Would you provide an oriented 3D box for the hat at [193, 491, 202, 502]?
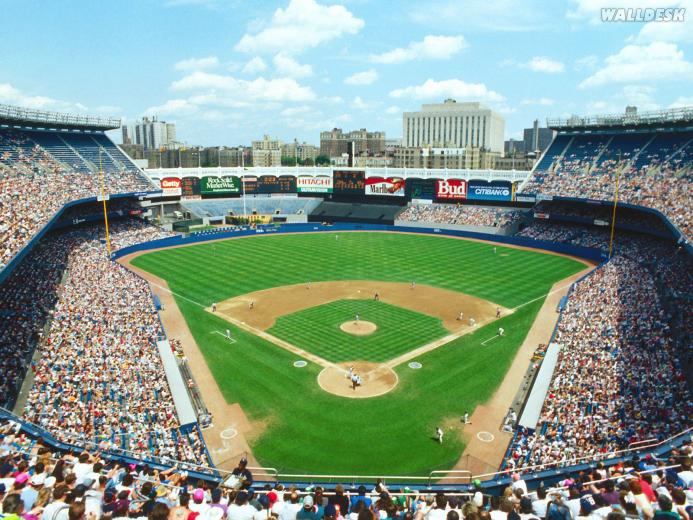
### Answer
[{"bbox_3d":[-4.730,7.535,17.246,0.342,0.340,0.301,-5,19,-15],"label":"hat"}]

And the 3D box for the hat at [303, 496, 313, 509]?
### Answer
[{"bbox_3d":[-1.221,7.674,17.249,0.312,0.312,0.321,-2,18,-6],"label":"hat"}]
